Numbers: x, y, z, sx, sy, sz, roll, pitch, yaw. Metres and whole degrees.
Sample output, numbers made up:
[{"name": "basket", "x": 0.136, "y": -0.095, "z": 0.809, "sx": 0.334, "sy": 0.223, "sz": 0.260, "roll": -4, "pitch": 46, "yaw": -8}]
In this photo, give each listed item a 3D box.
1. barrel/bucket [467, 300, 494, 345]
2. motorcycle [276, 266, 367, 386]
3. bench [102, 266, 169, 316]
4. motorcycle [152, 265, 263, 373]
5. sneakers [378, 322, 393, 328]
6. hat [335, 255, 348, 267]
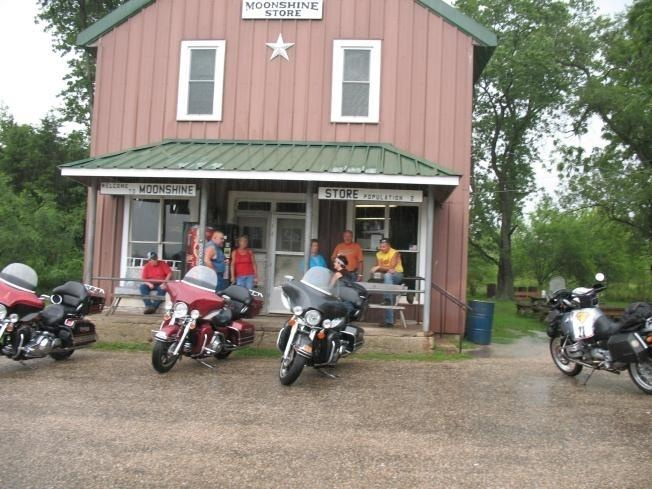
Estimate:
[{"name": "barrel/bucket", "x": 3.601, "y": 1.817, "z": 13.409, "sx": 0.574, "sy": 1.034, "sz": 0.561, "roll": 2, "pitch": 2, "yaw": 0}, {"name": "motorcycle", "x": -0.022, "y": 1.248, "z": 8.997, "sx": 1.435, "sy": 1.773, "sz": 0.677, "roll": -1, "pitch": 3, "yaw": -41}, {"name": "bench", "x": -4.341, "y": 0.930, "z": 12.891, "sx": 2.050, "sy": 0.955, "sz": 1.000, "roll": -5, "pitch": -5, "yaw": 18}, {"name": "motorcycle", "x": -2.079, "y": 1.213, "z": 9.583, "sx": 0.613, "sy": 1.715, "sz": 1.968, "roll": 3, "pitch": 3, "yaw": 35}, {"name": "sneakers", "x": 1.294, "y": 1.712, "z": 12.242, "sx": 0.256, "sy": 0.148, "sz": 0.113, "roll": 5, "pitch": -3, "yaw": 15}, {"name": "hat", "x": 0.255, "y": 0.310, "z": 10.708, "sx": 0.202, "sy": 0.202, "sz": 0.208, "roll": -17, "pitch": -15, "yaw": 35}]
